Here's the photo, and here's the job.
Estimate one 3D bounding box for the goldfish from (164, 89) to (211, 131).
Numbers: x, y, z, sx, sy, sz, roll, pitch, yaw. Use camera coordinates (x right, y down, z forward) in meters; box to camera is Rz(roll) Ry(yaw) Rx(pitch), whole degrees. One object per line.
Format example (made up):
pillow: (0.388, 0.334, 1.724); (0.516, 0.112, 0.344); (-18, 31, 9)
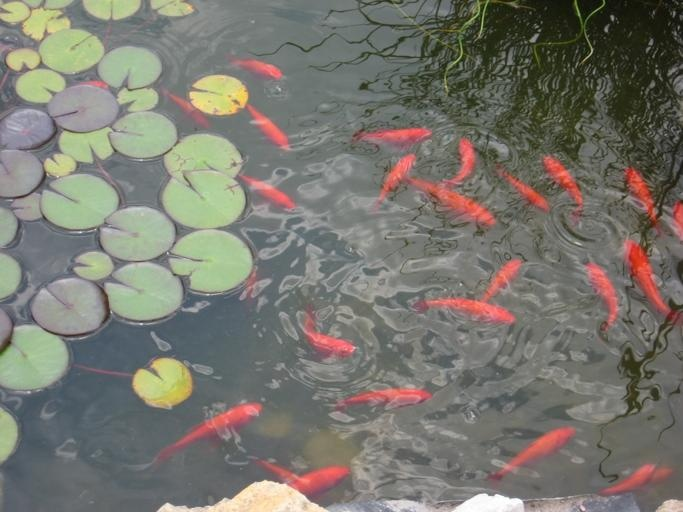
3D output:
goldfish: (-1.488, -1.440, 8.450); (0.581, 0.064, 0.125); (41, 73, 17)

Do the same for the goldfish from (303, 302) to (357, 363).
goldfish: (-0.168, 0.694, 7.593); (0.572, 0.146, 0.245); (40, 73, 16)

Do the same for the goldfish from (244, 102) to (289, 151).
goldfish: (-0.718, -1.252, 8.490); (0.653, 0.158, 0.185); (41, 76, 8)

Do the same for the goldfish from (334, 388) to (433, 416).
goldfish: (0.368, 1.185, 7.384); (0.810, 0.141, 0.150); (-4, 68, -1)

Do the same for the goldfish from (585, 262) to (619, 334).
goldfish: (2.340, 0.331, 7.758); (0.150, 0.138, 0.612); (-13, 66, -5)

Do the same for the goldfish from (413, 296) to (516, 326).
goldfish: (1.118, 0.441, 7.692); (0.852, 0.166, 0.187); (12, 68, 6)

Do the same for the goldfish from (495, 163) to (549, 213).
goldfish: (1.706, -0.656, 8.159); (0.157, 0.128, 0.644); (-41, 72, -15)

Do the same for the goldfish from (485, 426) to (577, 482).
goldfish: (1.619, 1.641, 7.285); (0.825, 0.141, 0.150); (-28, 70, -12)

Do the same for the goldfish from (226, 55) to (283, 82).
goldfish: (-0.879, -1.867, 8.695); (0.614, 0.101, 0.205); (18, 71, 12)

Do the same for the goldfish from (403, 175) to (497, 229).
goldfish: (1.018, -0.529, 8.089); (0.896, 0.129, 0.146); (33, 72, 14)

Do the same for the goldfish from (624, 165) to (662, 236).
goldfish: (2.841, -0.580, 8.189); (0.230, 0.141, 0.631); (-10, 66, -4)

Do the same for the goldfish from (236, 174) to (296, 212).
goldfish: (-0.682, -0.613, 8.127); (0.599, 0.091, 0.163); (31, 70, 13)
